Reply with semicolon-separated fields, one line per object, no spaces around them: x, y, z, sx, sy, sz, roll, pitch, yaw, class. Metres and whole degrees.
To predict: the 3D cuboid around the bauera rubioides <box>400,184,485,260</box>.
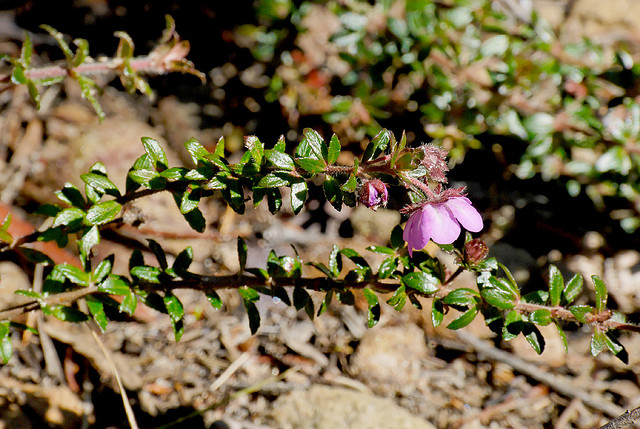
0.892;0.079;4.726;0.554;0.405;0.362;-9;58;-10;bauera rubioides

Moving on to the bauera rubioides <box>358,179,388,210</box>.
0.390;-0.141;4.659;0.180;0.227;0.203;2;87;2;bauera rubioides
